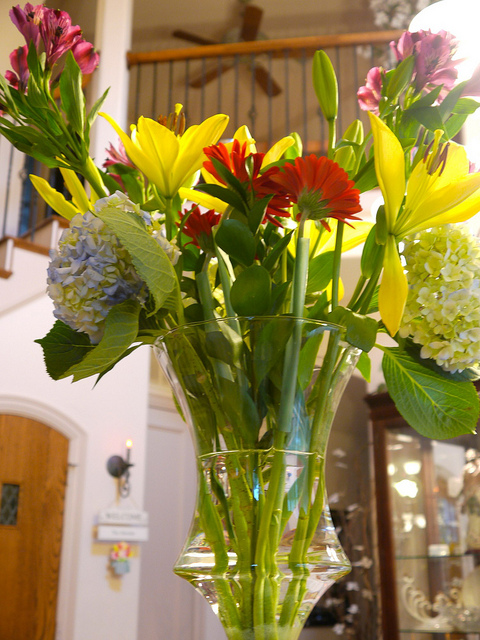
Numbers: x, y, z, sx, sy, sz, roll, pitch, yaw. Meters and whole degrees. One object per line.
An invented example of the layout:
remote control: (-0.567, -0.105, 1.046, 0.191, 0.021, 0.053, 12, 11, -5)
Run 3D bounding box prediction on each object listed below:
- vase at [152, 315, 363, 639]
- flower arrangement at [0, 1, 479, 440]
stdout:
vase: (0.018, 0.113, 0.467, 0.165, 0.233, 0.107, 1, -17, -8)
flower arrangement: (0.016, -0.067, 0.679, 0.433, 0.354, 0.402, 0, -47, 0)
